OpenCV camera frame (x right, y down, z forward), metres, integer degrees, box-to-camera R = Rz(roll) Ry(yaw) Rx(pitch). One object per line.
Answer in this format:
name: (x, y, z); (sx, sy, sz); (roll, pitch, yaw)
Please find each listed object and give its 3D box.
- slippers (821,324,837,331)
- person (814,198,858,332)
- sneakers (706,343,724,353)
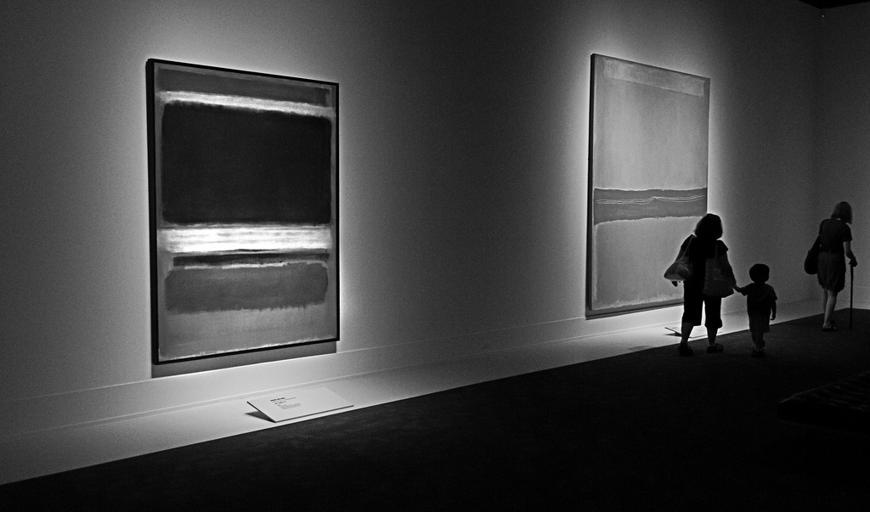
slippers: (6.540, 1.191, 9.340); (0.278, 0.106, 0.098); (-5, 4, -31)
person: (6.689, 0.198, 9.383); (0.590, 2.114, 0.710); (2, 12, 7)
sneakers: (4.071, 1.340, 8.175); (0.316, 0.119, 0.111); (-3, 4, -37)
